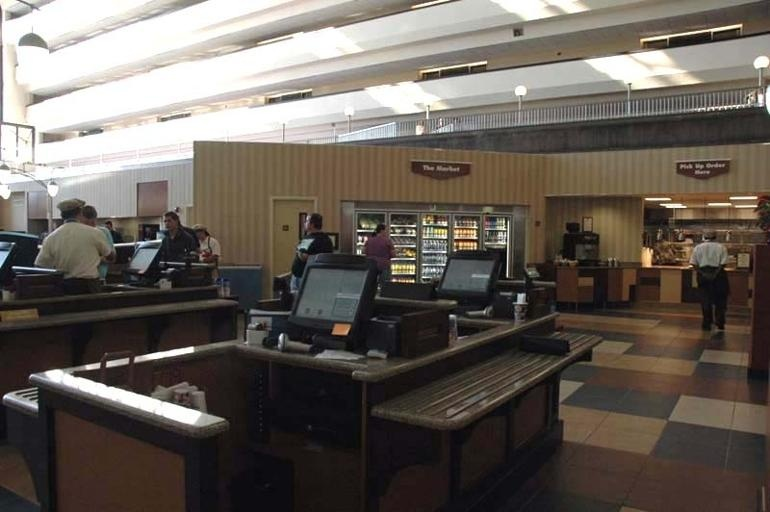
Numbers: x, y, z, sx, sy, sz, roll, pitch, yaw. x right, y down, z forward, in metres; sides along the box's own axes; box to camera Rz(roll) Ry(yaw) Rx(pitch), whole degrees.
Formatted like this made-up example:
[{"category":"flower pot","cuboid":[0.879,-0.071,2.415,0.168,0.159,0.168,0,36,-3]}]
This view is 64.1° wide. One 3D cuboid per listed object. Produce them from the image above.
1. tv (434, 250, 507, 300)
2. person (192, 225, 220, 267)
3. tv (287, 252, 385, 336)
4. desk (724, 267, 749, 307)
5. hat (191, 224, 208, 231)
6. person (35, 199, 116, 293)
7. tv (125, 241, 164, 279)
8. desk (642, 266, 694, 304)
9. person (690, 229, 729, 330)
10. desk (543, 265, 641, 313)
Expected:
[{"category":"tv","cuboid":[0.958,0.284,6.930,0.694,0.692,0.362,2,-14,36]},{"category":"person","cuboid":[-2.851,-0.122,9.703,0.374,0.671,1.230,-2,6,-17]},{"category":"tv","cuboid":[-0.456,0.328,5.292,0.705,0.657,0.310,3,6,27]},{"category":"desk","cuboid":[7.401,0.746,13.174,0.552,0.796,0.546,0,-6,2]},{"category":"hat","cuboid":[-3.202,-0.476,10.529,0.256,0.098,0.279,0,3,3]},{"category":"person","cuboid":[-3.591,0.005,7.069,0.767,0.820,0.302,-3,6,-30]},{"category":"tv","cuboid":[-3.107,0.037,7.881,0.567,0.479,0.172,0,-14,39]},{"category":"desk","cuboid":[6.201,0.659,13.583,0.882,0.598,0.876,1,1,25]},{"category":"person","cuboid":[5.726,0.448,10.857,0.620,1.725,0.664,3,6,28]},{"category":"desk","cuboid":[4.538,0.661,13.573,2.138,0.949,0.472,-2,6,-15]}]
